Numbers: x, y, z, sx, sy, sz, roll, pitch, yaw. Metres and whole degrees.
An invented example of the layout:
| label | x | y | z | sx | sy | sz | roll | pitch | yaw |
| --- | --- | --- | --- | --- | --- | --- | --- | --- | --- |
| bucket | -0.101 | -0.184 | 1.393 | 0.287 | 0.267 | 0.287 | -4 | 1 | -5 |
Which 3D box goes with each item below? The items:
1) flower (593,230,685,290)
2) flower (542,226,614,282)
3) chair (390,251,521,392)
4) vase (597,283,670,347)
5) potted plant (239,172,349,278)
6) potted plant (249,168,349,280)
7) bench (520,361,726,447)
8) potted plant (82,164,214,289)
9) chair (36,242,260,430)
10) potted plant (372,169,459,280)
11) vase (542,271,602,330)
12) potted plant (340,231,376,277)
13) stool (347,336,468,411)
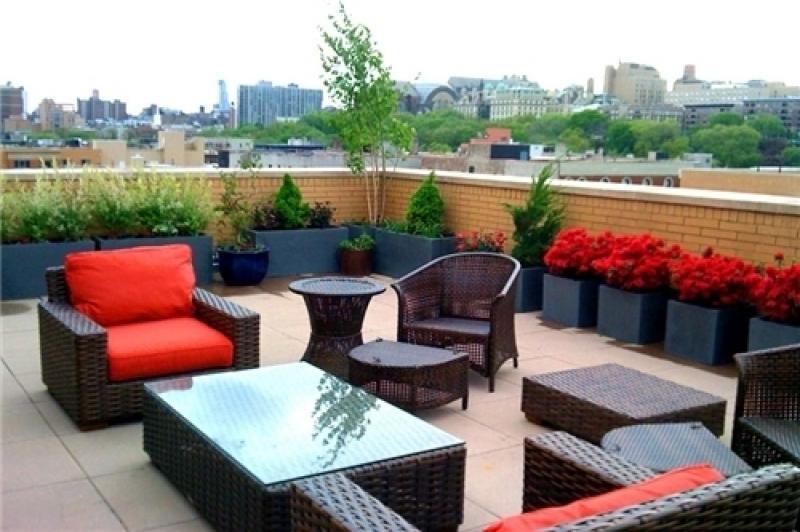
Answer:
| label | x | y | z | sx | sy | sz | roll | pitch | yaw |
| --- | --- | --- | --- | --- | --- | --- | --- | --- | --- |
| flower | 2.523 | -0.073 | 6.687 | 0.968 | 0.568 | 0.800 | 6 | -14 | -27 |
| flower | 1.994 | -0.146 | 6.865 | 0.610 | 0.436 | 0.635 | -3 | 4 | -17 |
| chair | 0.541 | 0.441 | 5.490 | 1.037 | 0.969 | 0.836 | 3 | 10 | 19 |
| vase | 2.372 | 0.468 | 6.493 | 0.666 | 0.549 | 0.636 | -1 | 7 | -30 |
| potted plant | -1.661 | -0.651 | 9.369 | 1.500 | 1.342 | 0.805 | -3 | 17 | -42 |
| potted plant | -1.657 | -0.652 | 9.414 | 0.882 | 1.465 | 1.728 | 13 | 14 | 41 |
| bench | 1.548 | 0.917 | 4.347 | 0.730 | 0.229 | 0.730 | -3 | 8 | -27 |
| potted plant | -3.354 | -0.752 | 8.640 | 2.121 | 1.910 | 1.491 | -3 | 10 | -23 |
| chair | -1.897 | 0.424 | 4.794 | 1.506 | 1.166 | 1.468 | -5 | 9 | -37 |
| potted plant | 0.423 | -0.653 | 9.229 | 1.156 | 1.396 | 0.874 | 0 | -3 | 41 |
| vase | 1.880 | 0.357 | 7.002 | 0.622 | 0.559 | 0.631 | -2 | 7 | -34 |
| potted plant | -0.652 | -0.118 | 9.339 | 0.485 | 0.458 | 0.472 | 3 | 9 | 24 |
| stool | 0.086 | 0.776 | 4.588 | 0.707 | 0.367 | 0.541 | 12 | 19 | 39 |
